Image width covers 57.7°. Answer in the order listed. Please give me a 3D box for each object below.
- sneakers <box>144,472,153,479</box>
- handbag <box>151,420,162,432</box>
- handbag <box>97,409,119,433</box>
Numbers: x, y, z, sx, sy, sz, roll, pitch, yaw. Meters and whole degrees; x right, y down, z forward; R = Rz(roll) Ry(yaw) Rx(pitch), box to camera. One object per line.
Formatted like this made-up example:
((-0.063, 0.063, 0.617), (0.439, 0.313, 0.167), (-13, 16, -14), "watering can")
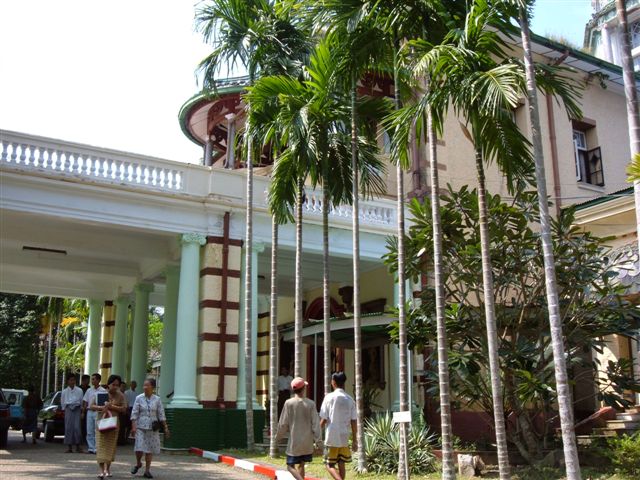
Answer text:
((-3.523, 4.805, 11.892), (0.097, 0.120, 0.290), (12, -24, -27), "sneakers")
((-3.388, 3.808, 11.969), (0.246, 0.243, 0.089), (1, -3, -34), "handbag")
((-4.288, 3.663, 11.676), (0.381, 0.359, 0.320), (4, -18, -18), "handbag")
